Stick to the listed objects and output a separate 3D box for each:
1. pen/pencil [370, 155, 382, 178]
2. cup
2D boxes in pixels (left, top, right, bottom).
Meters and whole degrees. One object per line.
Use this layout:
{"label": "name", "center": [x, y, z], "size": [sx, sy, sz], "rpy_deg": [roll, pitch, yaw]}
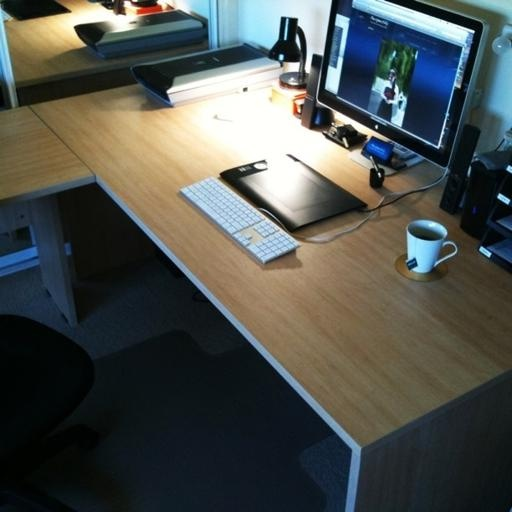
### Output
{"label": "pen/pencil", "center": [0.340, -0.262, 1.317], "size": [0.022, 0.023, 0.097], "rpy_deg": [-23, 36, 21]}
{"label": "cup", "center": [0.366, -0.019, 0.979], "size": [0.148, 0.097, 0.094], "rpy_deg": [6, 41, 16]}
